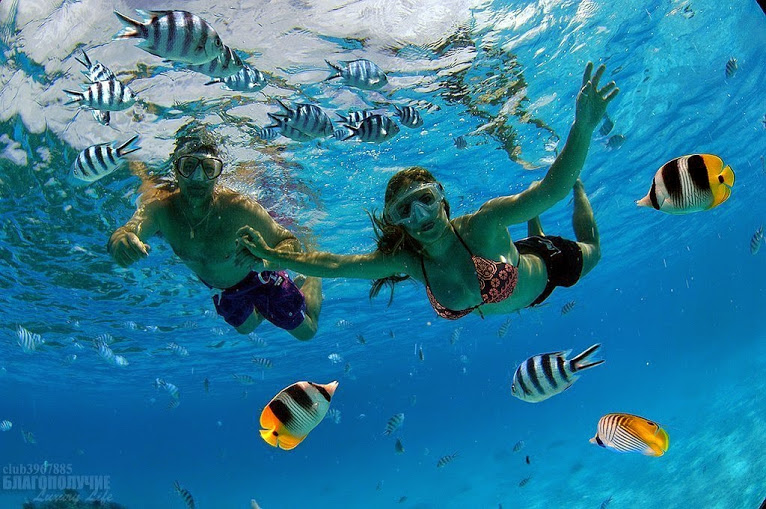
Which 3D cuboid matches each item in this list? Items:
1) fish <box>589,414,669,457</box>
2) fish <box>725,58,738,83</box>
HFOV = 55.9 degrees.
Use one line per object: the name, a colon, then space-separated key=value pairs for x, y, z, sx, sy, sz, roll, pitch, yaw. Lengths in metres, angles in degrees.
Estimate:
fish: x=10.939 y=7.991 z=31.806 sx=2.819 sy=2.331 sz=0.519 roll=-14 pitch=9 yaw=12
fish: x=17.609 y=-9.414 z=36.482 sx=0.445 sy=0.857 sz=1.344 roll=-10 pitch=10 yaw=32
